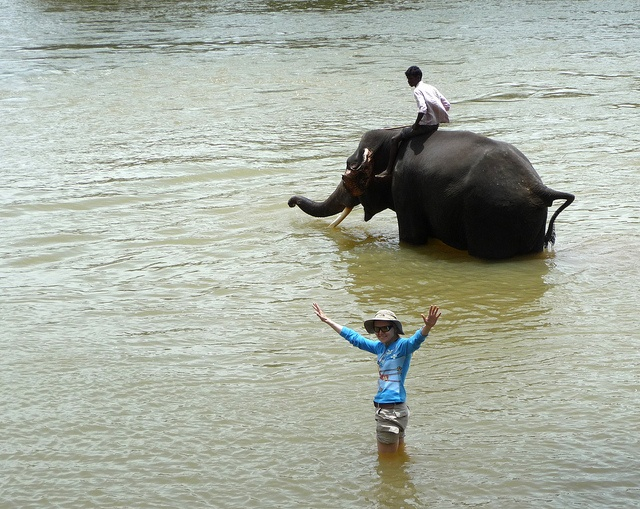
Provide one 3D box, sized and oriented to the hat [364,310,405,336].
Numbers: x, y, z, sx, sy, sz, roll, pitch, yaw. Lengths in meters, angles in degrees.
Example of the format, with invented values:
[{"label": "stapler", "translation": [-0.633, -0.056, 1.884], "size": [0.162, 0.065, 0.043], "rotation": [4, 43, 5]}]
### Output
[{"label": "hat", "translation": [0.633, 0.645, 10.348], "size": [0.369, 0.326, 0.100], "rotation": [0, 68, 10]}]
